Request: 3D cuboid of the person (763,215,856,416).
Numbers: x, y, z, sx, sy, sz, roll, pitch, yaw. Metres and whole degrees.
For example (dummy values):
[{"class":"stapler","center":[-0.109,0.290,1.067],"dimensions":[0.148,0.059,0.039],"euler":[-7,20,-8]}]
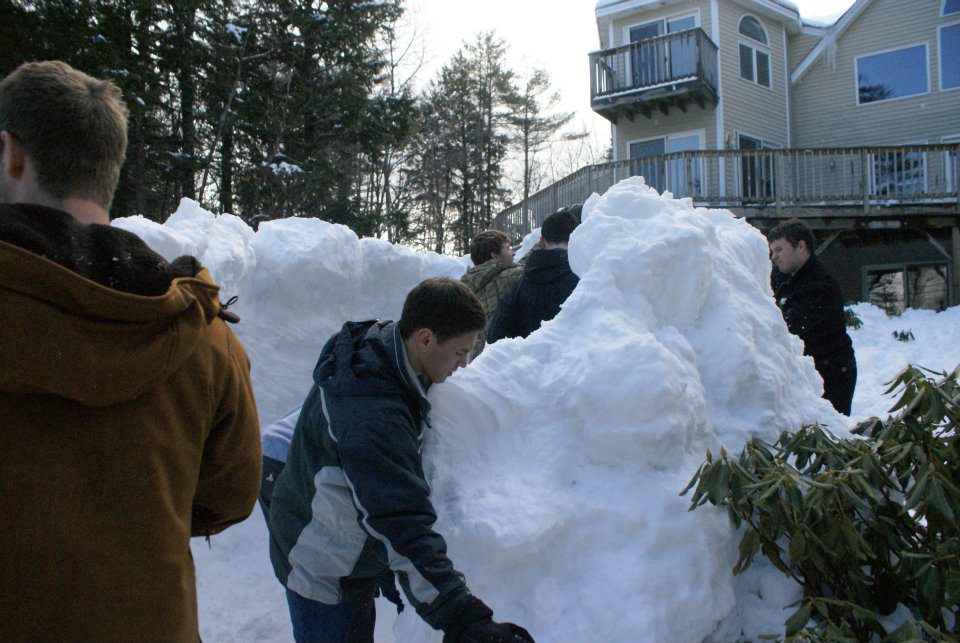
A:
[{"class":"person","center":[2.277,-0.032,6.307],"dimensions":[0.633,1.303,0.614],"euler":[5,5,18]}]
